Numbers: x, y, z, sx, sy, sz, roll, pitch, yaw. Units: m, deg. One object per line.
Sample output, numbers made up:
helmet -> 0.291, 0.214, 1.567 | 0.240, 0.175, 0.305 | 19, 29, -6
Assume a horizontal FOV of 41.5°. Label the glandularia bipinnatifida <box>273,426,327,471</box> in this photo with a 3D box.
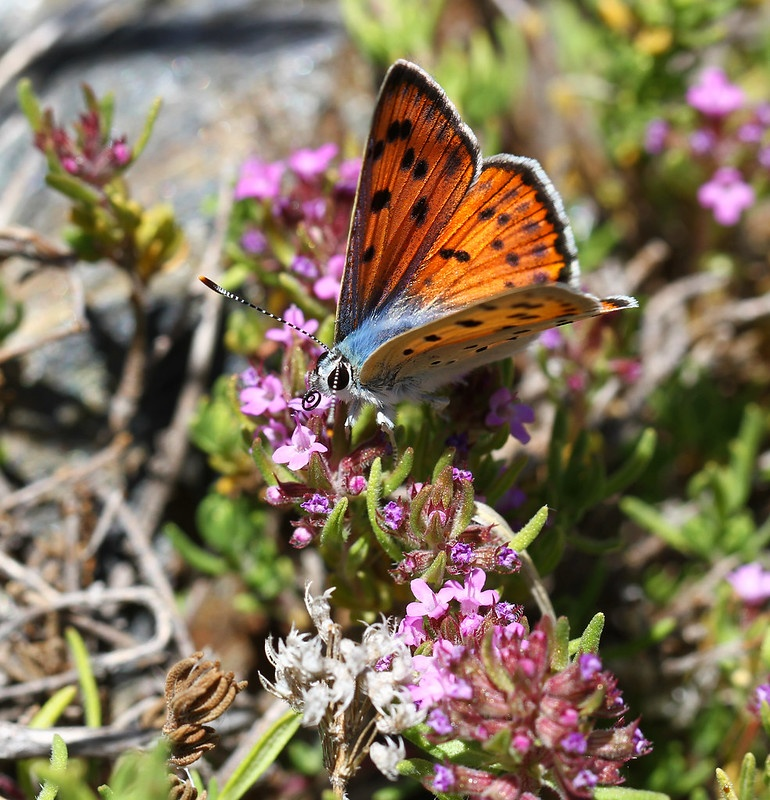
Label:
glandularia bipinnatifida -> -0.279, 0.188, 3.294 | 0.164, 0.223, 0.154 | 9, 53, 1
